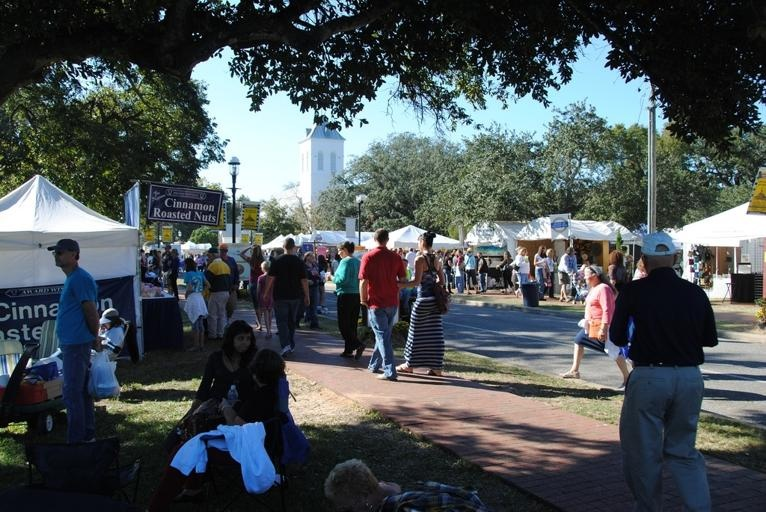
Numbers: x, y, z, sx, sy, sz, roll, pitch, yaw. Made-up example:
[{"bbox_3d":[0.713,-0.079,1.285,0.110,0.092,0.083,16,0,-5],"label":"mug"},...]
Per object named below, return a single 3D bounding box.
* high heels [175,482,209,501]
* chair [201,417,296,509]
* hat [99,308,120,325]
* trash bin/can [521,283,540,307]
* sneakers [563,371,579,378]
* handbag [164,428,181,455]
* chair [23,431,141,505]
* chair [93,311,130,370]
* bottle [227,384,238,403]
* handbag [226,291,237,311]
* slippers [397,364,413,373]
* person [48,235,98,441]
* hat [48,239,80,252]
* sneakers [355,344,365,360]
[{"bbox_3d":[-2.127,2.600,7.572,0.354,0.165,0.137,5,-4,-3],"label":"high heels"},{"bbox_3d":[-1.590,2.223,7.559,0.861,1.371,0.764,9,-14,-44],"label":"chair"},{"bbox_3d":[-4.092,0.939,10.394,0.367,0.199,0.272,10,-7,-41],"label":"hat"},{"bbox_3d":[5.401,1.398,24.973,0.725,0.774,0.728,-1,-3,-28],"label":"trash bin/can"},{"bbox_3d":[3.382,2.113,12.274,0.305,0.142,0.124,0,-3,10],"label":"sneakers"},{"bbox_3d":[-2.309,2.047,7.584,0.177,0.277,0.079,8,-3,34],"label":"handbag"},{"bbox_3d":[-3.060,2.179,6.984,0.769,1.005,0.690,2,3,-7],"label":"chair"},{"bbox_3d":[-4.202,1.387,10.368,0.431,1.161,0.451,4,14,-30],"label":"chair"},{"bbox_3d":[-1.681,1.547,7.654,0.140,0.253,0.144,0,-6,0],"label":"bottle"},{"bbox_3d":[-3.699,1.107,16.728,0.148,0.620,0.299,12,-3,-19],"label":"handbag"},{"bbox_3d":[0.382,1.974,12.015,0.283,0.124,0.115,8,-5,18],"label":"slippers"},{"bbox_3d":[-3.931,1.088,8.769,0.541,2.611,0.443,0,0,-27],"label":"person"},{"bbox_3d":[-4.078,-0.122,8.735,0.350,0.182,0.245,6,-6,-33],"label":"hat"},{"bbox_3d":[-0.454,1.848,13.218,0.122,0.340,0.134,27,-10,-39],"label":"sneakers"}]
